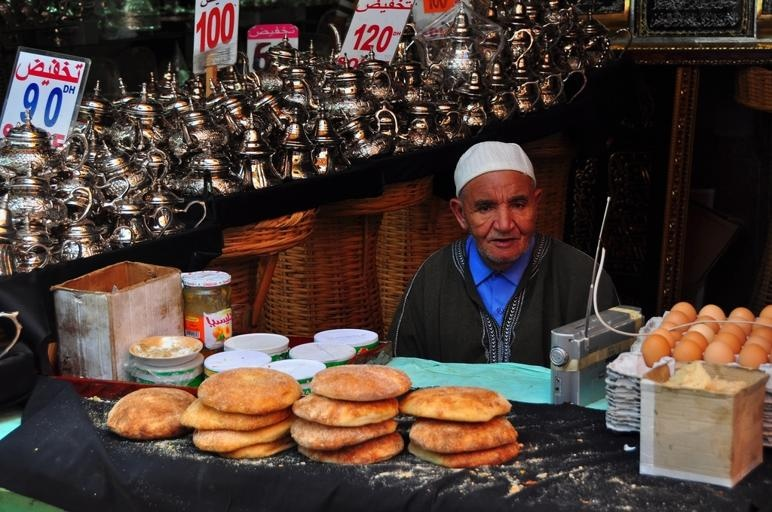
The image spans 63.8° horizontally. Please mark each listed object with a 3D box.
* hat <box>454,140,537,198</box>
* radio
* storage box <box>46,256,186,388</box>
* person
[{"bbox_3d":[0.506,-0.461,3.054,0.292,0.182,0.290,-15,-6,-2],"label":"hat"},{"bbox_3d":[0.758,0.187,2.231,0.468,0.614,0.156,-13,15,-41],"label":"radio"},{"bbox_3d":[-0.898,0.196,2.223,0.385,0.364,0.493,4,10,26],"label":"storage box"},{"bbox_3d":[0.551,0.118,3.211,0.703,1.385,0.772,1,8,13],"label":"person"}]
